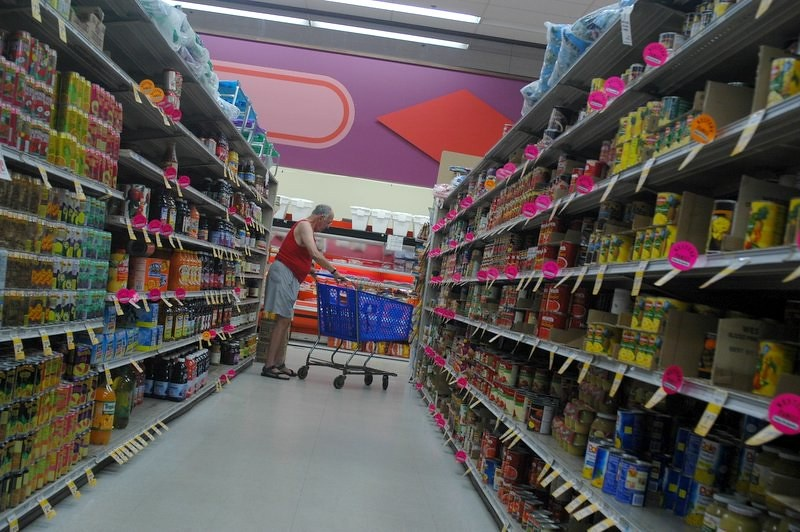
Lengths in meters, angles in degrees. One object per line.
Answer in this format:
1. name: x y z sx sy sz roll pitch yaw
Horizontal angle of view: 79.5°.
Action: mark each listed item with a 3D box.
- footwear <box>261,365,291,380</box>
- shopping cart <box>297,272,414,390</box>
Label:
1. footwear: -1.496 1.276 5.745 0.323 0.125 0.149 2 1 0
2. shopping cart: -0.523 0.882 6.683 1.775 1.727 1.134 1 4 -45
